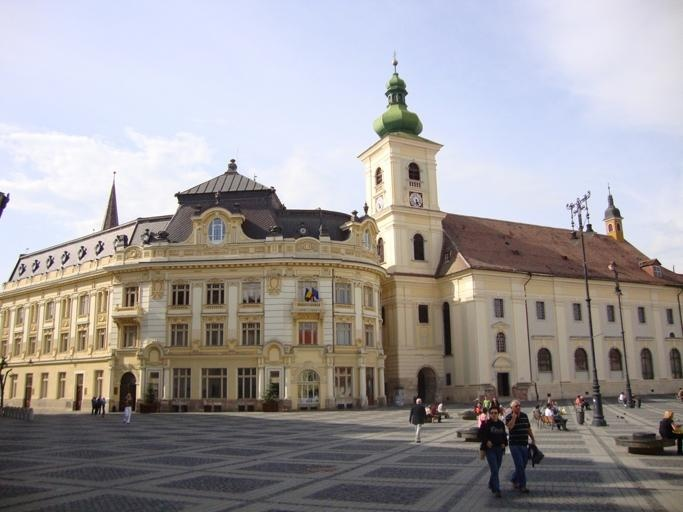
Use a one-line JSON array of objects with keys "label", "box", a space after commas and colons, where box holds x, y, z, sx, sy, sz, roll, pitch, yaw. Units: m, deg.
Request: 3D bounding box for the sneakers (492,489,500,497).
[{"label": "sneakers", "box": [4.712, 7.139, 17.553, 0.229, 0.171, 0.281, -5, -14, 13]}]

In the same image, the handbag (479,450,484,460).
[{"label": "handbag", "box": [4.311, 6.017, 17.668, 0.138, 0.248, 0.236, -4, -14, 8]}]

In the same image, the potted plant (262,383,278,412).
[{"label": "potted plant", "box": [-6.140, 12.424, 51.341, 1.249, 2.483, 2.097, -3, -14, 4]}]

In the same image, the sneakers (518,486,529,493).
[{"label": "sneakers", "box": [5.666, 7.203, 17.984, 0.290, 0.171, 0.208, -4, -14, 10]}]

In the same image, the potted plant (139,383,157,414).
[{"label": "potted plant", "box": [-17.223, 12.703, 52.116, 1.553, 2.467, 2.205, 3, -15, -17]}]

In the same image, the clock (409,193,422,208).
[{"label": "clock", "box": [8.810, -6.686, 69.340, 1.810, 1.692, 0.186, 11, -22, -25]}]
